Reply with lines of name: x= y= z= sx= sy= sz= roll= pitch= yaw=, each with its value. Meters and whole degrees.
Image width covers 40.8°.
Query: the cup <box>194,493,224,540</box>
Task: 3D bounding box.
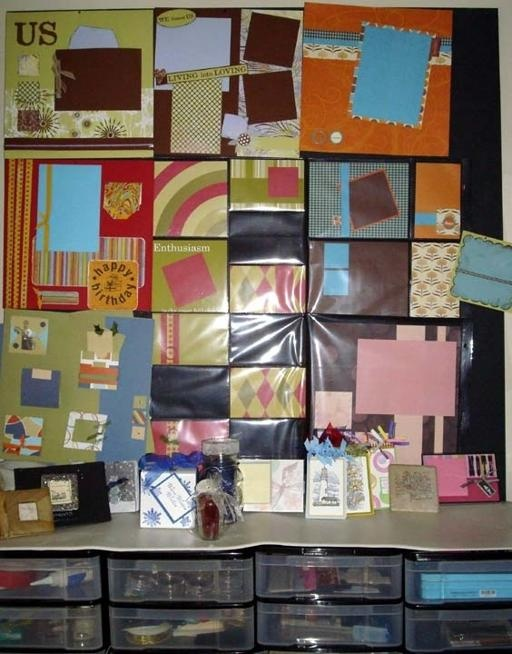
cup: x=-0.148 y=0.587 z=2.136 sx=0.099 sy=0.135 sz=0.095 roll=-3 pitch=-14 yaw=-1

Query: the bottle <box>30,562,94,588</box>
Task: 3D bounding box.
bottle: x=-0.549 y=0.727 z=2.041 sx=0.222 sy=0.068 sz=0.071 roll=0 pitch=-16 yaw=-8
